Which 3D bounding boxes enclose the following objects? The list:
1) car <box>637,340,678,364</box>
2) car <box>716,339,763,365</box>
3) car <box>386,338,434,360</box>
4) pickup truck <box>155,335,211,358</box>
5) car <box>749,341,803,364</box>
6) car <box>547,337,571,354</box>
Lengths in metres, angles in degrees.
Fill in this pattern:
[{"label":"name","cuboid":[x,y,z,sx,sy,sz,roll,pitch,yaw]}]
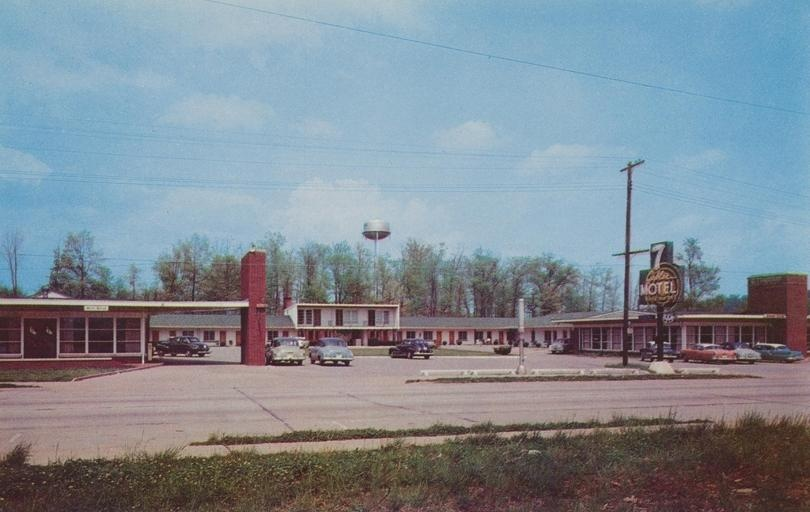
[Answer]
[{"label":"car","cuboid":[20.150,7.858,75.077,2.275,1.715,4.134,0,-3,8]},{"label":"car","cuboid":[25.355,7.268,71.183,3.031,1.391,1.802,-6,-6,39]},{"label":"car","cuboid":[0.477,7.662,77.354,2.807,1.294,4.194,-1,0,-32]},{"label":"pickup truck","cuboid":[-17.819,7.220,75.359,4.157,1.391,2.029,-5,-7,27]},{"label":"car","cuboid":[28.860,7.551,73.429,1.675,1.062,3.586,3,-1,-31]},{"label":"car","cuboid":[14.862,8.600,89.963,1.874,1.122,3.577,-1,0,24]}]
